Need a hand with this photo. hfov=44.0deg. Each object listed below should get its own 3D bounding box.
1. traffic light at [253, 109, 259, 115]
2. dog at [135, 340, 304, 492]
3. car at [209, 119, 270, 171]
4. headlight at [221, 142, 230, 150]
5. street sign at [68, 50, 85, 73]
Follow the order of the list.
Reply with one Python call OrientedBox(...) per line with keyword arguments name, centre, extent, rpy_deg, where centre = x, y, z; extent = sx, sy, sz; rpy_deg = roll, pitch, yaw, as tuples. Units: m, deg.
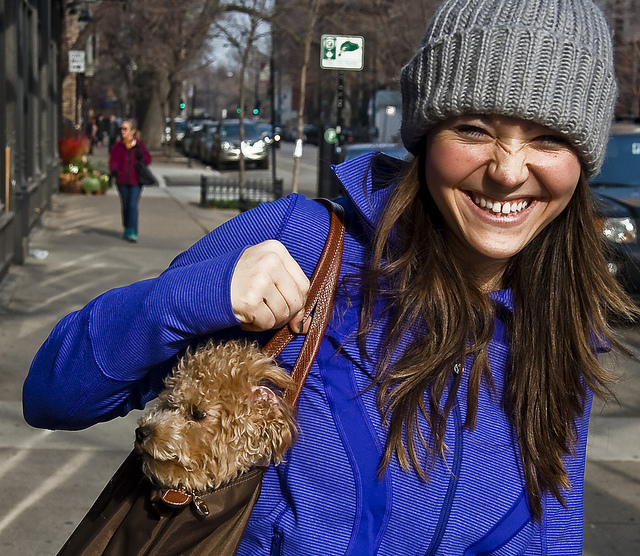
OrientedBox(name="traffic light", centre=(-2.417, -6.232, 29.611), extent=(0.206, 0.279, 0.094), rpy_deg=(3, -9, -15))
OrientedBox(name="dog", centre=(-0.199, 0.305, 1.551), extent=(0.210, 0.302, 0.273), rpy_deg=(-11, -21, 38))
OrientedBox(name="car", centre=(-3.596, -6.359, 34.826), extent=(2.057, 2.598, 5.135), rpy_deg=(-1, 2, -9))
OrientedBox(name="headlight", centre=(-4.164, -5.768, 34.747), extent=(0.352, 0.277, 0.509), rpy_deg=(1, 12, -9))
OrientedBox(name="street sign", centre=(-5.412, -4.791, 17.569), extent=(0.297, 0.431, 0.910), rpy_deg=(-2, 13, -21))
